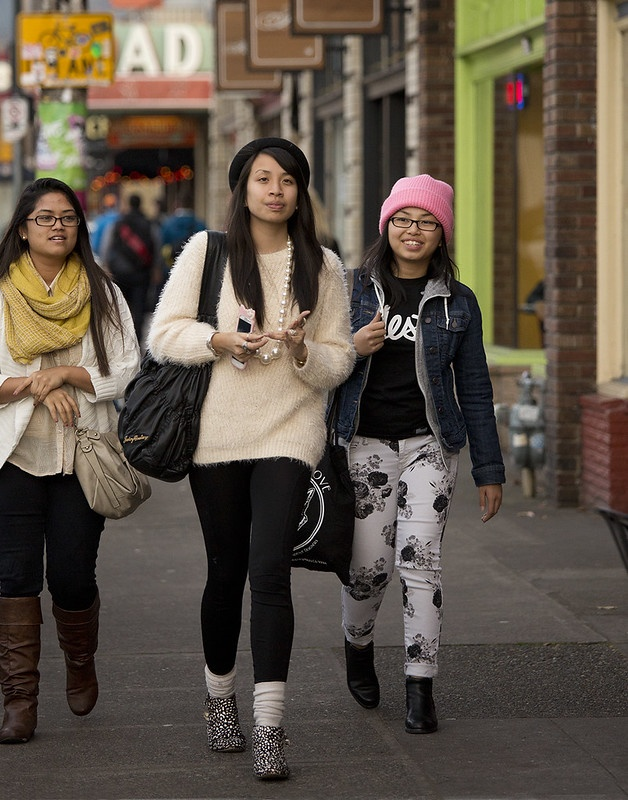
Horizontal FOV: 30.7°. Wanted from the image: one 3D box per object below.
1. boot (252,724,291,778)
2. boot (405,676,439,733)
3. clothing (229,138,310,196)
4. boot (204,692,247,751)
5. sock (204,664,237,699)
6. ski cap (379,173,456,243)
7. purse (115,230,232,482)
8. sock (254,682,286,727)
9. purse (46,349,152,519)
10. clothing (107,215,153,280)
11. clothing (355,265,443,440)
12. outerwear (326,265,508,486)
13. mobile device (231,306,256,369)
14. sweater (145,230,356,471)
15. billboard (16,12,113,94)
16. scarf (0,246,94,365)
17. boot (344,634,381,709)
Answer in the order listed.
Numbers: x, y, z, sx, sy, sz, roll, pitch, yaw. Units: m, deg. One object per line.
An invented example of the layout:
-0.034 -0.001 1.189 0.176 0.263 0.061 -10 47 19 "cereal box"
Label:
-0.110 0.929 3.043 0.068 0.075 0.184 -1 -2 -6 "boot"
0.329 0.927 3.505 0.102 0.168 0.153 0 3 5 "boot"
-0.115 -0.679 3.228 0.184 0.173 0.046 4 26 -10 "clothing"
-0.278 0.927 3.293 0.073 0.141 0.214 8 7 -24 "boot"
-0.265 0.806 3.278 0.095 0.078 0.078 -1 0 3 "sock"
0.317 -0.628 3.632 0.219 0.193 0.244 1 -6 4 "ski cap"
-0.389 -0.125 3.167 0.305 0.692 0.247 -1 4 -8 "purse"
-0.117 0.796 3.007 0.077 0.127 0.062 0 4 0 "sock"
-0.649 0.106 3.401 0.218 0.454 0.382 -25 18 0 "purse"
-2.249 -1.809 13.910 0.677 0.892 0.494 -3 21 -26 "clothing"
0.259 -0.110 3.499 0.266 0.439 0.111 4 0 -29 "clothing"
0.392 -0.067 3.725 0.601 0.659 0.241 2 -1 5 "outerwear"
-0.188 -0.162 3.043 0.064 0.168 0.155 0 3 -3 "mobile device"
-0.173 -0.121 3.156 0.741 0.689 0.414 3 -2 -8 "sweater"
-2.640 -3.715 11.933 1.003 0.885 0.229 0 -7 -1 "billboard"
-0.811 -0.275 3.474 0.264 0.334 0.138 -2 -14 -29 "scarf"
0.152 0.868 3.726 0.091 0.237 0.163 -7 -25 -2 "boot"
